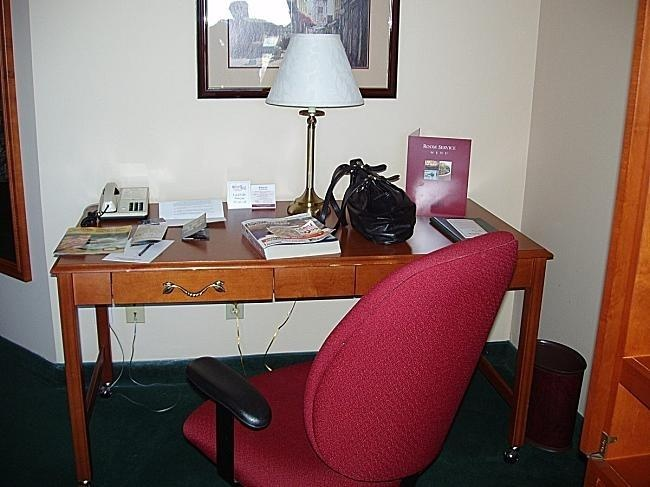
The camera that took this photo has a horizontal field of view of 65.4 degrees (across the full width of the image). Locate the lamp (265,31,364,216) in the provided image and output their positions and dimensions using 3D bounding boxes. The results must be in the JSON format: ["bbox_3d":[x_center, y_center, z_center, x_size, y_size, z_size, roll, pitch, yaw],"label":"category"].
[{"bbox_3d":[-0.055,-0.495,2.178,0.392,0.737,0.413,10,19,21],"label":"lamp"}]

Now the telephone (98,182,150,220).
[{"bbox_3d":[-0.862,-0.178,2.167,0.153,0.074,0.224,-3,32,-11],"label":"telephone"}]

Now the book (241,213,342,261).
[{"bbox_3d":[-0.120,-0.022,1.868,0.211,0.056,0.220,-4,23,-19],"label":"book"}]

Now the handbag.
[{"bbox_3d":[0.165,-0.163,1.962,0.350,0.281,0.287,3,18,8],"label":"handbag"}]
